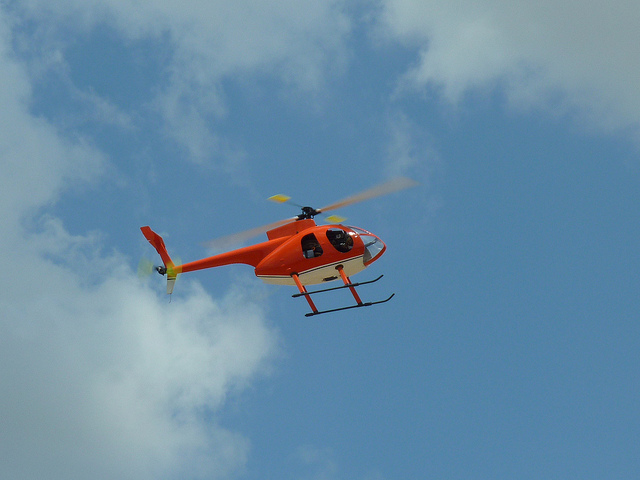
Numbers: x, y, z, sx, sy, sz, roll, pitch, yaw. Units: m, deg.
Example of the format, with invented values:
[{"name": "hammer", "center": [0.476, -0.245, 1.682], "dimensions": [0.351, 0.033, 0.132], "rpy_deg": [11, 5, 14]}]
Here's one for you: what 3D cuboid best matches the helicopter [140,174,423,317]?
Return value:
[{"name": "helicopter", "center": [-1.090, 0.429, 29.913], "dimensions": [4.988, 4.223, 2.144], "rpy_deg": [-19, -96, -3]}]
